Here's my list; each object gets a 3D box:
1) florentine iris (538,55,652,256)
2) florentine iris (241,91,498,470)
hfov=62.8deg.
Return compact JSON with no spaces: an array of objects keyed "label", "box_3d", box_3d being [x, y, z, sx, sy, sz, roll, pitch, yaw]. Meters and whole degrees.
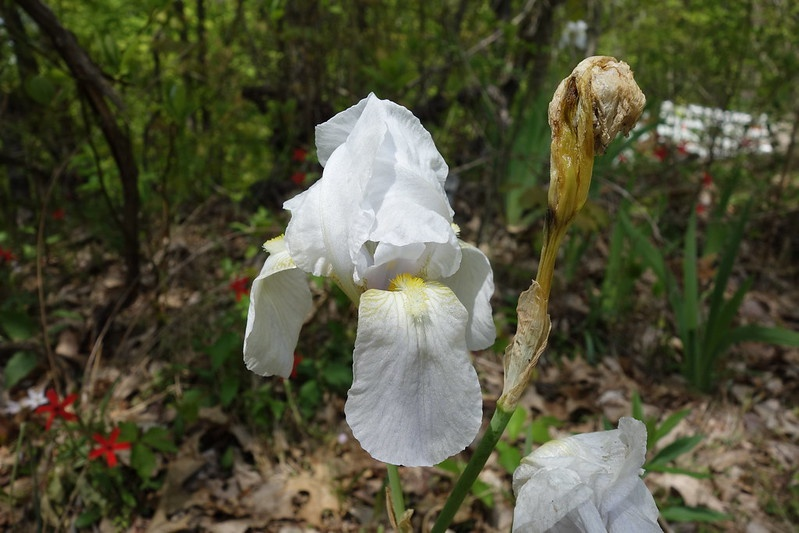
[{"label":"florentine iris","box_3d":[0.694,-0.418,2.392,0.329,0.638,0.258,5,25,2]},{"label":"florentine iris","box_3d":[-0.091,0.010,2.418,0.923,1.105,0.666,11,26,12]}]
